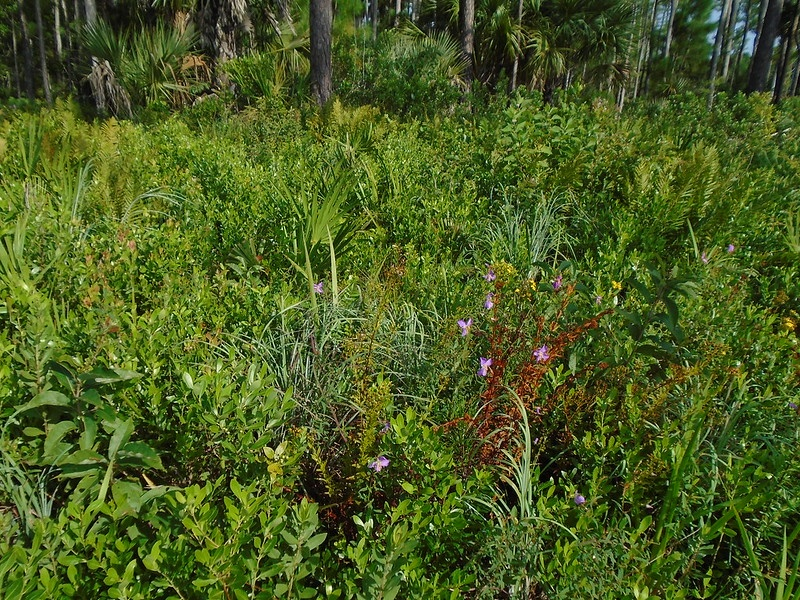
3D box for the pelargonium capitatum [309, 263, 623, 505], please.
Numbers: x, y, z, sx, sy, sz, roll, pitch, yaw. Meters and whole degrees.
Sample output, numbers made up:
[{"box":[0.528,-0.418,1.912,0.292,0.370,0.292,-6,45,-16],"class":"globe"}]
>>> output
[{"box":[0.480,0.435,3.381,1.028,0.527,1.232,17,68,6],"class":"pelargonium capitatum"}]
